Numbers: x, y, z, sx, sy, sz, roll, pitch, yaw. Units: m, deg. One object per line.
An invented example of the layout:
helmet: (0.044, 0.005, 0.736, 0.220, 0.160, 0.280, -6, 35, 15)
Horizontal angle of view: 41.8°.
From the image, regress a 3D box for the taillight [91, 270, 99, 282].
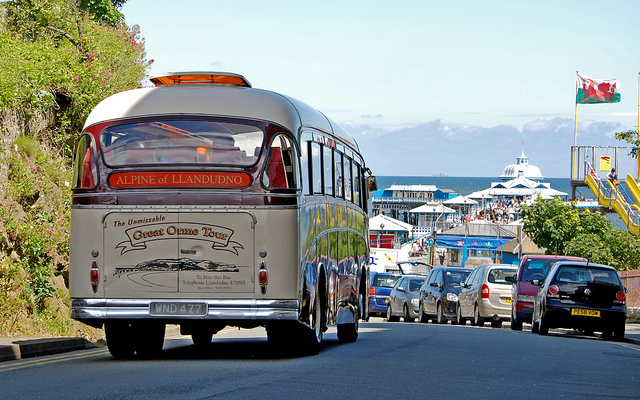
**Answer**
taillight: (-4.355, 1.456, 16.108, 0.135, 0.228, 0.034, -1, -5, 10)

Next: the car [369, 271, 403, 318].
car: (3.082, 4.638, 41.148, 2.143, 1.855, 3.850, 1, 0, -4)

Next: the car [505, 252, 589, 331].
car: (7.008, 2.800, 26.840, 1.907, 1.393, 2.915, 0, 2, -2)

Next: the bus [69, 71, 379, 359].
bus: (-1.711, 0.424, 21.859, 5.238, 5.479, 11.981, -1, -3, 11)

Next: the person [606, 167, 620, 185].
person: (15.587, -1.242, 44.702, 0.545, 0.751, 1.494, -2, -5, 21)

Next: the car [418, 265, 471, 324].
car: (4.805, 3.498, 32.208, 1.590, 1.247, 2.454, 3, -11, -18)

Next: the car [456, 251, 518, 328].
car: (5.842, 3.345, 29.614, 2.000, 1.895, 4.495, 0, -1, 13)

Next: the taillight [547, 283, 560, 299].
taillight: (6.626, 2.606, 23.870, 0.256, 0.406, 0.122, 1, -5, 23)

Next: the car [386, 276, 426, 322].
car: (3.601, 4.105, 34.968, 1.345, 0.972, 2.166, 2, -11, -16)
